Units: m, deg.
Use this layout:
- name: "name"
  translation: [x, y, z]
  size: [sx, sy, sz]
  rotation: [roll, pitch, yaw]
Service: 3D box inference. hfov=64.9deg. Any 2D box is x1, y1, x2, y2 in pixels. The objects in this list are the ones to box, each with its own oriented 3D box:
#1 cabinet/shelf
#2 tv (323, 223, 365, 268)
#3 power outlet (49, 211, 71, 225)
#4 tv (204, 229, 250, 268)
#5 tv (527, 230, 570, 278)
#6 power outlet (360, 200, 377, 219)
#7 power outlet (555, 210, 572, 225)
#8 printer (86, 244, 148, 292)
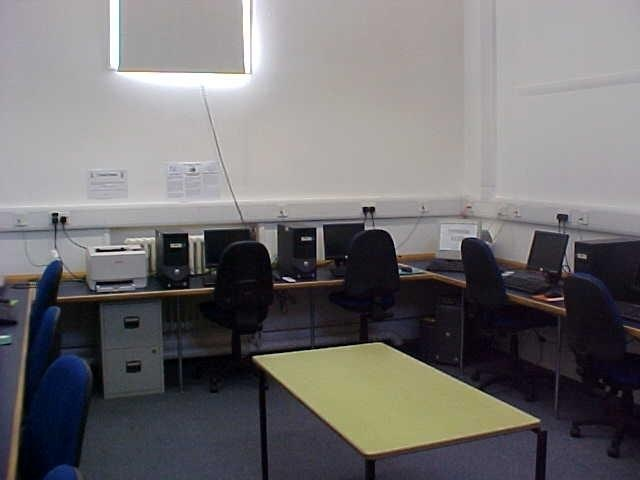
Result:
- name: "cabinet/shelf"
  translation: [-1.519, 0.863, 4.032]
  size: [0.473, 0.868, 0.753]
  rotation: [-1, 1, -15]
- name: "tv"
  translation: [0.235, 0.063, 4.813]
  size: [0.403, 0.453, 0.137]
  rotation: [-3, -20, 1]
- name: "power outlet"
  translation: [-2.224, -0.177, 4.264]
  size: [0.141, 0.110, 0.054]
  rotation: [-1, 14, 0]
- name: "tv"
  translation: [-0.807, 0.083, 4.219]
  size: [0.315, 0.290, 0.114]
  rotation: [-1, -1, -11]
- name: "tv"
  translation: [1.845, 0.120, 4.033]
  size: [0.149, 0.377, 0.311]
  rotation: [16, -3, -34]
- name: "power outlet"
  translation: [0.474, -0.311, 5.020]
  size: [0.163, 0.164, 0.082]
  rotation: [-1, 2, -16]
- name: "power outlet"
  translation: [2.031, -0.188, 4.179]
  size: [0.076, 0.116, 0.027]
  rotation: [10, 13, 36]
- name: "printer"
  translation: [-1.695, 0.222, 4.150]
  size: [0.448, 0.308, 0.463]
  rotation: [-2, 11, -36]
